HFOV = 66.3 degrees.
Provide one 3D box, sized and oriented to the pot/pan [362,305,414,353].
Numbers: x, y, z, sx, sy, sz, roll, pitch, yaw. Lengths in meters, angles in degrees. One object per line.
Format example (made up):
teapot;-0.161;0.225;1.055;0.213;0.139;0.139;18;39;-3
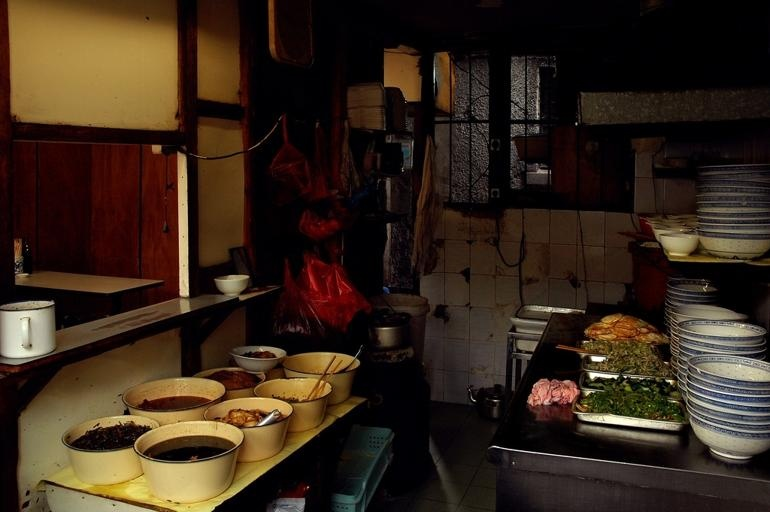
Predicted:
pot/pan;0.028;0.594;4.833;0.403;0.290;0.392;-4;4;-24

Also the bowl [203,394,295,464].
bowl;-0.660;0.879;3.005;0.392;0.180;0.404;1;7;0

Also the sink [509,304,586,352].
sink;1.389;0.610;5.287;0.437;0.216;0.618;2;5;17

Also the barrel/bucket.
barrel/bucket;0.239;0.635;5.231;0.565;0.701;0.561;-1;-2;0

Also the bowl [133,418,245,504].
bowl;-0.911;0.962;2.758;0.481;0.290;0.303;-1;5;-16

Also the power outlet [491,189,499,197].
power outlet;1.149;-0.675;6.102;0.085;0.093;0.012;2;5;20

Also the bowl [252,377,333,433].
bowl;-0.502;0.861;3.314;0.380;0.170;0.361;-4;1;0

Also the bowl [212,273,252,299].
bowl;-0.973;0.178;3.777;0.222;0.123;0.273;0;4;-14

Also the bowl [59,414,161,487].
bowl;-1.317;0.907;2.853;0.319;0.147;0.330;1;0;0
